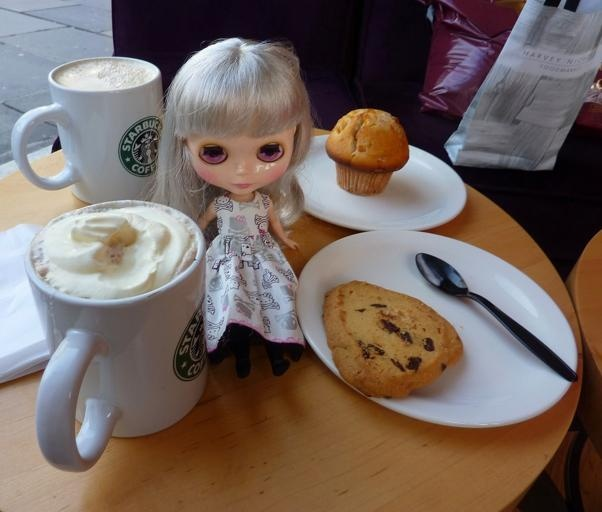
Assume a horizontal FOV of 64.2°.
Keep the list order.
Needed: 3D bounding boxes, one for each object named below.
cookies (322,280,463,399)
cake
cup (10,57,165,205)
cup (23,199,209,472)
[{"bbox_3d":[0.107,0.096,0.651,0.169,0.047,0.212,-15,35,-24],"label":"cookies"},{"bbox_3d":[0.139,-0.203,1.046,0.160,0.159,0.173,11,29,2],"label":"cake"},{"bbox_3d":[-0.319,-0.217,0.809,0.161,0.224,0.261,25,41,28],"label":"cup"},{"bbox_3d":[-0.170,0.088,0.500,0.159,0.201,0.231,-8,49,-11],"label":"cup"}]
